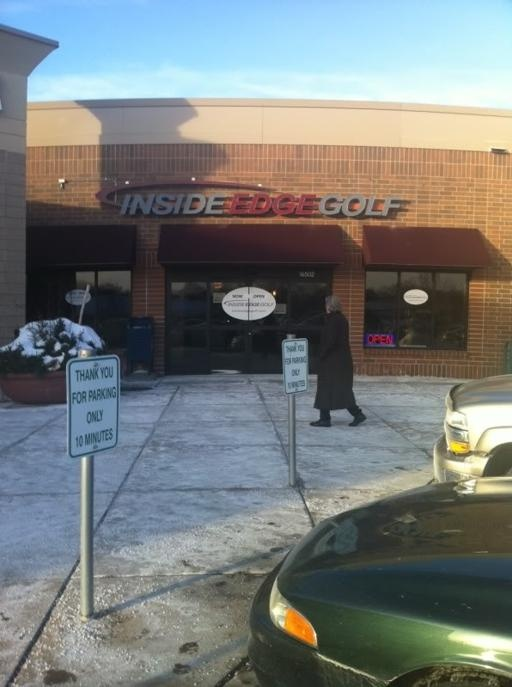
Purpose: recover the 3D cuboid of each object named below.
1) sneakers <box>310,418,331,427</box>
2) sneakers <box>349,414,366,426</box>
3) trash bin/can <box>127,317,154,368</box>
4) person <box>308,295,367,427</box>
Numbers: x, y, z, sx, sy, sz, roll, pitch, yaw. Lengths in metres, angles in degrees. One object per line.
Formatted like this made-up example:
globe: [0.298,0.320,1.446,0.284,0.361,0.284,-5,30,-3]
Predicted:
sneakers: [0.799,0.976,8.952,0.194,0.078,0.106,3,1,-2]
sneakers: [1.263,0.990,9.127,0.140,0.096,0.293,27,-23,-14]
trash bin/can: [-2.474,0.029,15.451,0.538,1.154,0.504,0,3,2]
person: [1.011,0.235,8.930,0.467,1.595,0.521,2,4,27]
